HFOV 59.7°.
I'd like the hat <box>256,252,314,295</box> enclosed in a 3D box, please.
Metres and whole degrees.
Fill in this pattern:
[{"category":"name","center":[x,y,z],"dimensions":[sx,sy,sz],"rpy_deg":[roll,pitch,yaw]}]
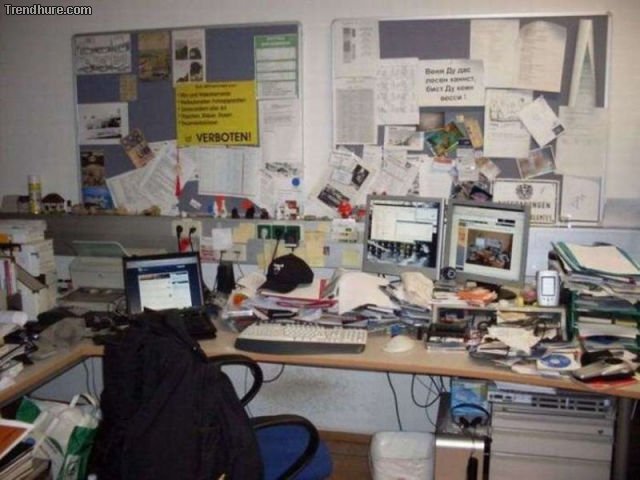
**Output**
[{"category":"hat","center":[-0.185,0.162,3.000],"dimensions":[0.247,0.142,0.324],"rpy_deg":[9,22,30]}]

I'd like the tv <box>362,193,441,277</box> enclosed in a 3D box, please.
[{"category":"tv","center":[0.445,-0.024,3.012],"dimensions":[0.443,0.412,0.047],"rpy_deg":[5,5,16]}]

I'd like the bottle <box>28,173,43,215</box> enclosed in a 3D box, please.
[{"category":"bottle","center":[-1.756,-0.283,3.458],"dimensions":[0.085,0.234,0.094],"rpy_deg":[-7,10,-39]}]

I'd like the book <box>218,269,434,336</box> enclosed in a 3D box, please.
[{"category":"book","center":[0.110,0.318,2.858],"dimensions":[0.647,0.187,0.477],"rpy_deg":[1,2,14]}]

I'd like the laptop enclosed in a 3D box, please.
[{"category":"laptop","center":[-0.785,0.311,2.867],"dimensions":[0.502,0.340,0.470],"rpy_deg":[-12,21,-40]}]

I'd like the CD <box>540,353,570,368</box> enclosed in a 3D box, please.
[{"category":"CD","center":[1.056,0.545,2.509],"dimensions":[0.131,0.024,0.108],"rpy_deg":[1,8,10]}]

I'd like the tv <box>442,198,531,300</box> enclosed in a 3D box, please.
[{"category":"tv","center":[0.855,0.056,2.886],"dimensions":[0.510,0.486,0.181],"rpy_deg":[6,2,25]}]

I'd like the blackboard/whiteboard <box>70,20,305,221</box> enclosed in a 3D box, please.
[{"category":"blackboard/whiteboard","center":[-0.773,-0.693,3.402],"dimensions":[1.547,1.093,0.022],"rpy_deg":[-12,20,-38]}]

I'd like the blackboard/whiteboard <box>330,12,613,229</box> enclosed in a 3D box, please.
[{"category":"blackboard/whiteboard","center":[0.897,-0.695,3.084],"dimensions":[1.306,0.906,0.063],"rpy_deg":[0,5,1]}]

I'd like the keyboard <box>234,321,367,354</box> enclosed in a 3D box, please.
[{"category":"keyboard","center":[-0.095,0.479,2.667],"dimensions":[0.450,0.071,0.225],"rpy_deg":[3,6,3]}]
